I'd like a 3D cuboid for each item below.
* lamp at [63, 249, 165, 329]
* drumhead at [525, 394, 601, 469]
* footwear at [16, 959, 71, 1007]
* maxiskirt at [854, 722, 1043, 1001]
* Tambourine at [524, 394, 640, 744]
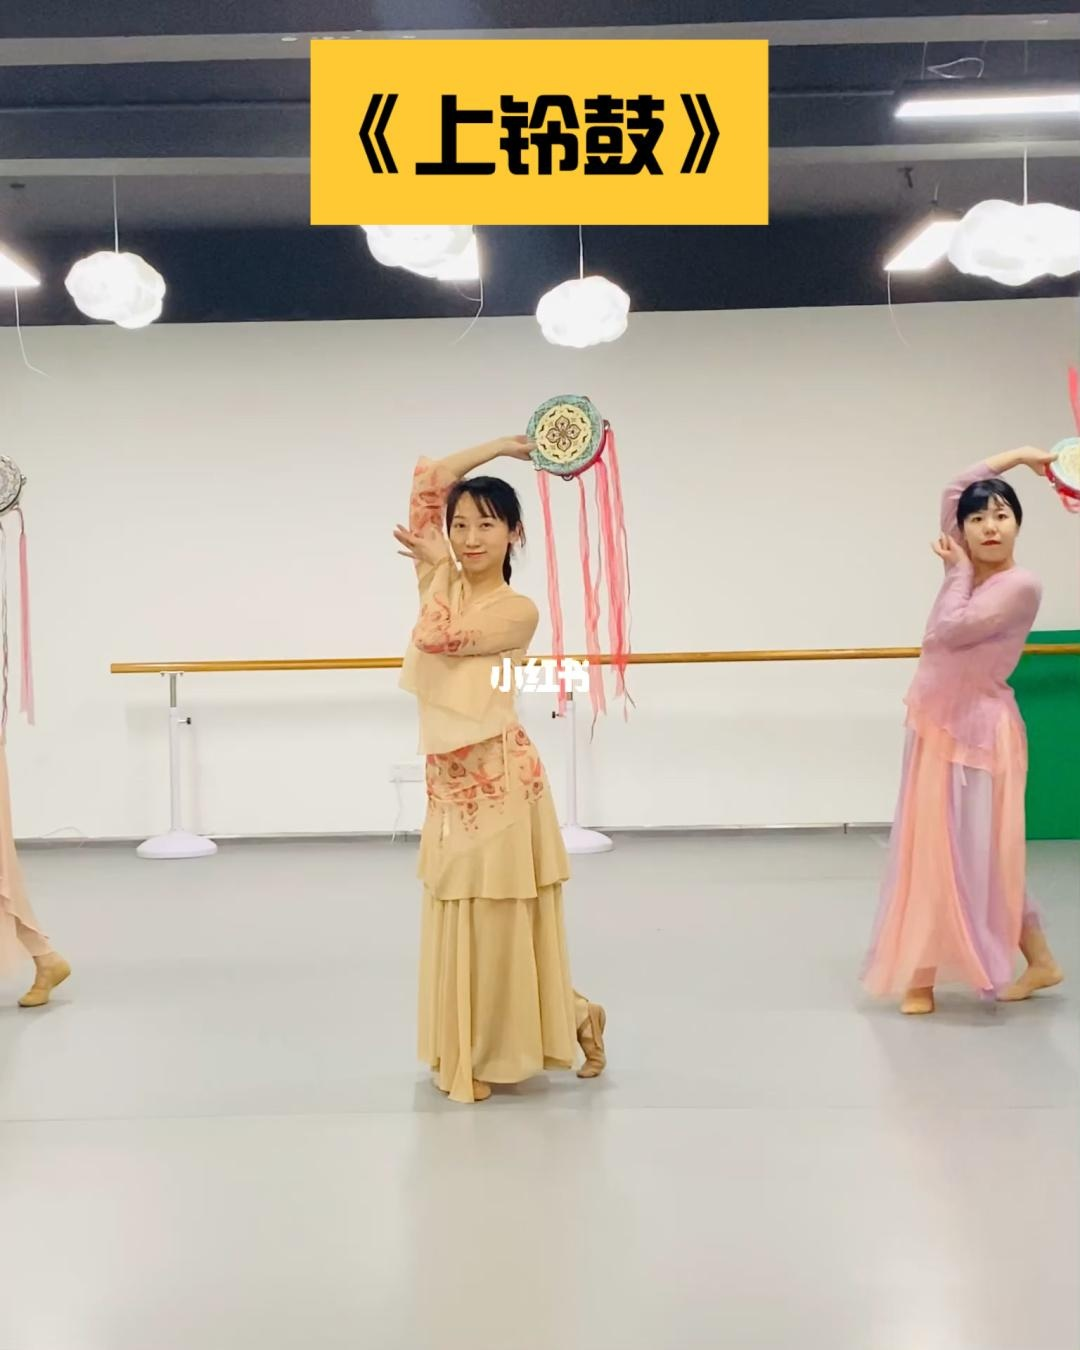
[{"bbox_3d":[-0.701,-0.615,2.232,0.183,0.120,0.125,-4,10,-23],"label":"lamp"},{"bbox_3d":[0.044,-0.391,2.236,0.133,0.112,0.030,-1,2,25],"label":"drumhead"},{"bbox_3d":[-0.878,0.550,2.410,0.088,0.063,0.030,-52,6,-37],"label":"footwear"},{"bbox_3d":[0.790,0.411,2.633,0.279,0.630,0.265,-1,2,-4],"label":"maxiskirt"},{"bbox_3d":[0.079,-0.175,2.267,0.143,0.586,0.103,0,6,-8],"label":"Tambourine"}]
